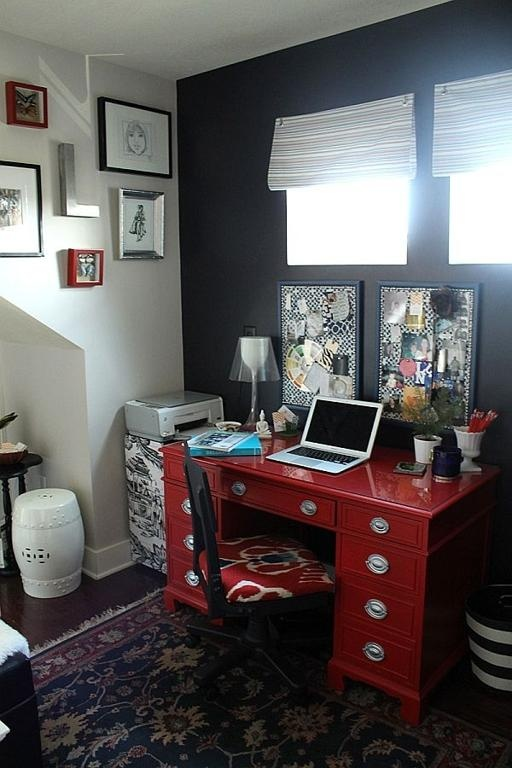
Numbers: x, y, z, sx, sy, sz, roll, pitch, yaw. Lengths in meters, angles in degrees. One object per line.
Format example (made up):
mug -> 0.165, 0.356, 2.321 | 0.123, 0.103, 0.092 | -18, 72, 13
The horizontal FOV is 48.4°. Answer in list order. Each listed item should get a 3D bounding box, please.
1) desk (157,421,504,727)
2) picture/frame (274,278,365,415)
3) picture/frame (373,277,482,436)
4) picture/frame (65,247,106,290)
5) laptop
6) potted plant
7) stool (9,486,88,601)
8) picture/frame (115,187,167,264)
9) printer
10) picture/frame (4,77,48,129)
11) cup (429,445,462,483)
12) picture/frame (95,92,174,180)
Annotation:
desk -> 0.202, 0.614, 2.226 | 1.089, 0.738, 0.596 | 9, 16, 36
picture/frame -> 0.292, -0.178, 2.495 | 0.029, 0.721, 0.524 | -12, 15, -39
picture/frame -> 0.659, -0.115, 2.138 | 0.537, 0.774, 0.034 | 8, 15, 42
picture/frame -> -0.789, -0.529, 2.589 | 0.057, 0.183, 0.185 | 8, 13, 30
laptop -> 0.258, 0.129, 2.142 | 0.301, 0.194, 0.307 | 8, 12, 44
potted plant -> 0.618, 0.101, 2.093 | 0.271, 0.344, 0.247 | 6, 12, 25
stool -> -0.979, 0.756, 2.700 | 0.304, 0.433, 0.296 | -2, 5, -20
picture/frame -> -0.587, -0.793, 2.826 | 0.045, 0.439, 0.369 | 9, 13, 40
printer -> -0.429, 0.161, 2.926 | 0.349, 0.189, 0.441 | 8, 12, 35
picture/frame -> -0.922, -1.108, 2.250 | 0.062, 0.206, 0.219 | 4, 7, 31
cup -> 0.629, 0.265, 1.883 | 0.088, 0.105, 0.090 | -1, 4, 0
picture/frame -> -0.565, -1.185, 2.761 | 0.399, 0.301, 0.033 | 16, 27, 20
